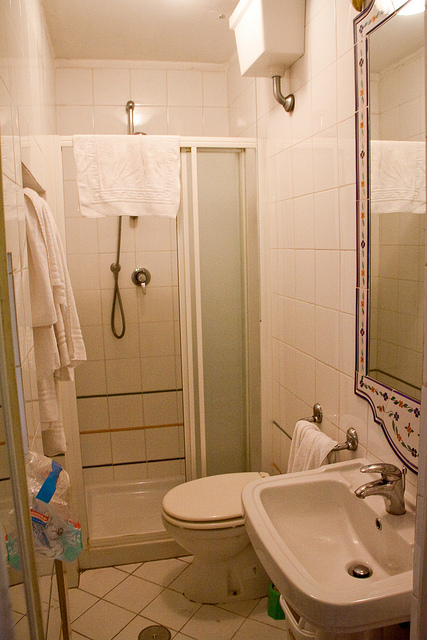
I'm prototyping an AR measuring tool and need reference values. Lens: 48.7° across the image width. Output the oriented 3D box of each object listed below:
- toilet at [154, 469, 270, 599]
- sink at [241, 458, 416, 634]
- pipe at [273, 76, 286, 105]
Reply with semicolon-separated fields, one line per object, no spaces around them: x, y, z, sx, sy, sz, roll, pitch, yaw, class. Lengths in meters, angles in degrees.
0.049;0.916;1.976;0.451;0.470;0.447;-10;6;13;toilet
0.298;0.498;1.112;0.413;0.172;0.549;2;3;-17;sink
0.253;-0.874;1.806;0.059;0.098;0.058;2;2;-10;pipe
